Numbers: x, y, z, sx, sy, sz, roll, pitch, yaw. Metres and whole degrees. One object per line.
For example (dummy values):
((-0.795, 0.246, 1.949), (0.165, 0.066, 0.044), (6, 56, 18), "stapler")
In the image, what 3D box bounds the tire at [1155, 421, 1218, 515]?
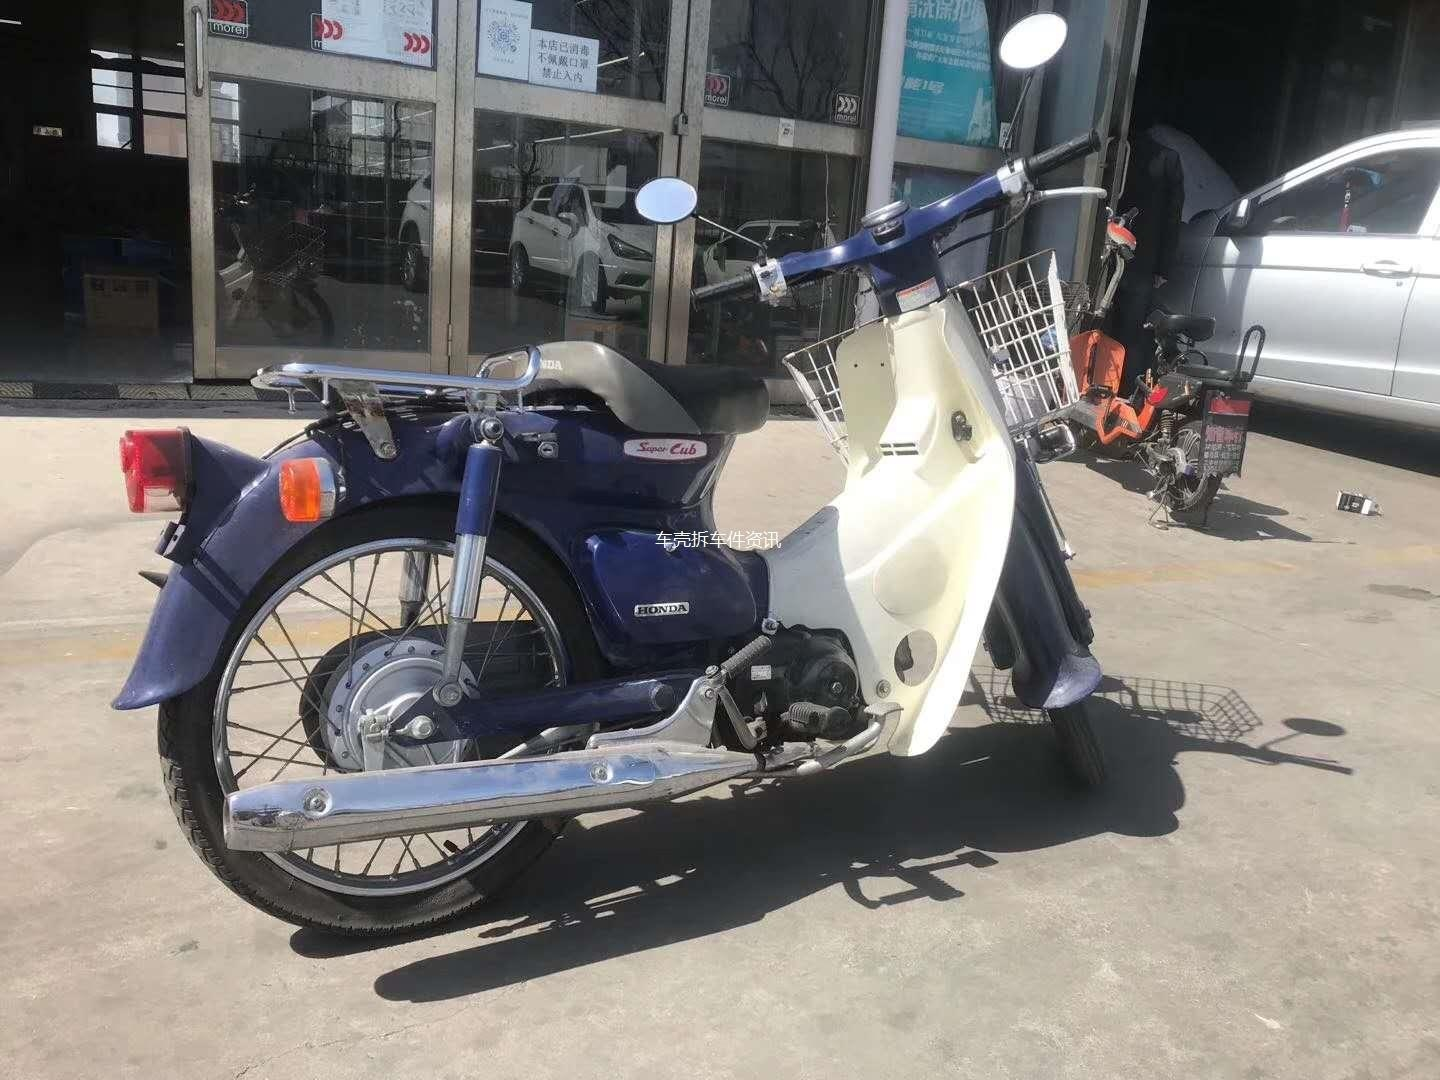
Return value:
((3.028, -0.454, 7.139), (0.183, 0.526, 0.517), (6, 39, -11), "tire")

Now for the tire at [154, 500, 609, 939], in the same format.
((-0.873, 0.500, 2.977), (1.023, 1.225, 0.330), (2, 4, -12), "tire")

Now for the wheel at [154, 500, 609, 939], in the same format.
((-0.873, 0.500, 2.977), (1.023, 1.225, 0.330), (2, 4, -12), "wheel")

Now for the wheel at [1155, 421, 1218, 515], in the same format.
((3.001, -0.453, 7.130), (0.183, 0.526, 0.517), (6, 39, -11), "wheel")

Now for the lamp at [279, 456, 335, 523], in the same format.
((-1.070, -0.154, 2.891), (0.123, 0.252, 0.231), (0, 5, -33), "lamp")
